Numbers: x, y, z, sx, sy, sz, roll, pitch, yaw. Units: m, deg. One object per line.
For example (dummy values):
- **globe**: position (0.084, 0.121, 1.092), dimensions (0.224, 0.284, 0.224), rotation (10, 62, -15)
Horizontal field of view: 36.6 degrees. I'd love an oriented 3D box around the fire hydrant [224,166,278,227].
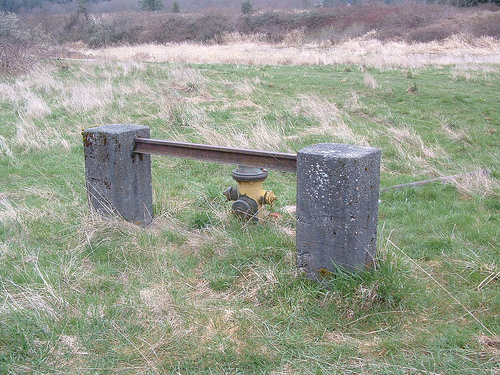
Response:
- **fire hydrant**: position (-0.001, 0.127, 14.283), dimensions (0.918, 1.092, 0.654), rotation (-5, 16, -5)
